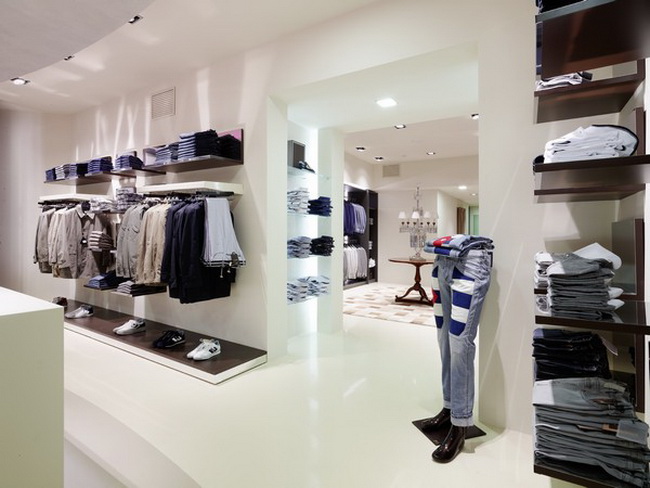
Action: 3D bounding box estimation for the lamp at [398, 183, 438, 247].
[{"bbox_3d":[1.871,-0.425,9.051,0.782,1.336,1.487,2,11,10],"label":"lamp"}]

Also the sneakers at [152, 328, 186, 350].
[{"bbox_3d":[-1.514,0.929,4.402,0.143,0.100,0.245,-2,-6,26],"label":"sneakers"}]

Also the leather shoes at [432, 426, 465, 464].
[{"bbox_3d":[0.784,1.253,2.835,0.111,0.150,0.326,-5,-14,37],"label":"leather shoes"}]

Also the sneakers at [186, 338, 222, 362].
[{"bbox_3d":[-1.080,0.968,4.141,0.145,0.115,0.241,-4,-4,37],"label":"sneakers"}]

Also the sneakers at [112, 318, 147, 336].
[{"bbox_3d":[-2.035,0.873,4.810,0.152,0.098,0.264,-2,-4,32],"label":"sneakers"}]

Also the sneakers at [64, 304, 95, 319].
[{"bbox_3d":[-2.920,0.805,5.434,0.157,0.115,0.278,-3,-5,38],"label":"sneakers"}]

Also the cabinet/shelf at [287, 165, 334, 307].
[{"bbox_3d":[-0.203,-0.142,5.049,0.437,1.480,0.933,5,12,25],"label":"cabinet/shelf"}]

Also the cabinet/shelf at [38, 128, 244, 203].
[{"bbox_3d":[-2.023,-0.923,5.066,2.814,0.612,0.400,8,13,34],"label":"cabinet/shelf"}]
